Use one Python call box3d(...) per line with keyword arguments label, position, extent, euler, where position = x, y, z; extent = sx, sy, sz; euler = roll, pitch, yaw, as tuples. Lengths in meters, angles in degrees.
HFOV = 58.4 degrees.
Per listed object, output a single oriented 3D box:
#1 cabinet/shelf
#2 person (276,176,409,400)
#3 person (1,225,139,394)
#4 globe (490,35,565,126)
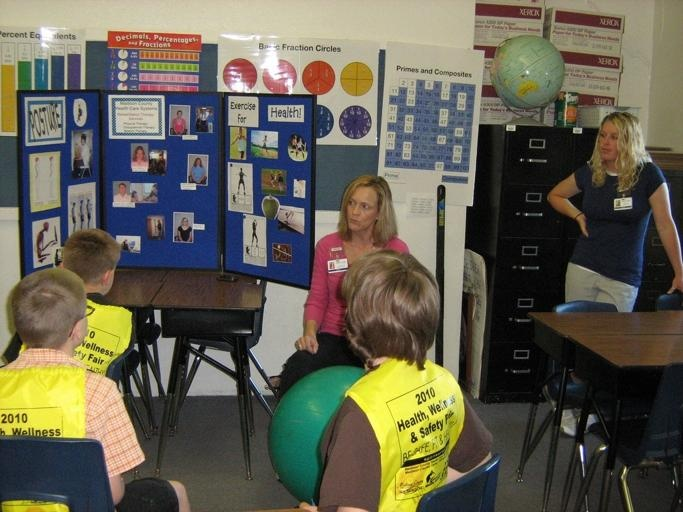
box3d(label="cabinet/shelf", position=(1.404, 0.008, 4.510), extent=(0.728, 2.327, 0.737), euler=(1, 7, -6))
box3d(label="person", position=(-0.004, 0.090, 3.511), extent=(0.596, 1.416, 0.634), euler=(0, 16, -16))
box3d(label="person", position=(-1.222, 0.186, 2.862), extent=(0.471, 0.832, 0.472), euler=(2, 15, -10))
box3d(label="globe", position=(1.323, -1.342, 4.542), extent=(0.427, 0.502, 0.546), euler=(-17, 30, -7))
